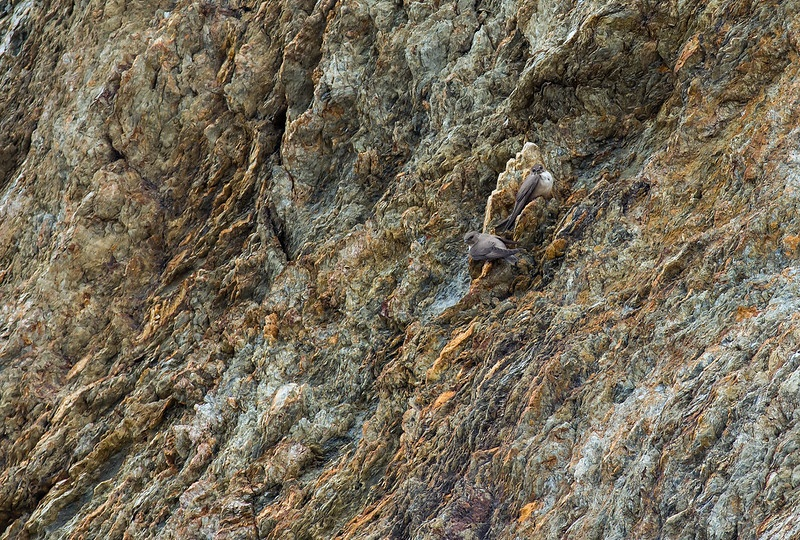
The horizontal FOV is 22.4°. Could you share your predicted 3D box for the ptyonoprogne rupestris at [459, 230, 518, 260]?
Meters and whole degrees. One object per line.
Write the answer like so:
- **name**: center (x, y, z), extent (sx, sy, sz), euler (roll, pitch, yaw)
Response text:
- **ptyonoprogne rupestris**: center (2.024, -0.415, 45.601), extent (0.598, 1.126, 0.518), euler (-59, -38, -8)
